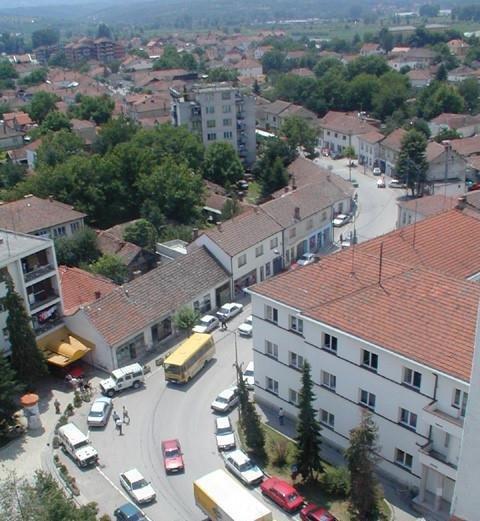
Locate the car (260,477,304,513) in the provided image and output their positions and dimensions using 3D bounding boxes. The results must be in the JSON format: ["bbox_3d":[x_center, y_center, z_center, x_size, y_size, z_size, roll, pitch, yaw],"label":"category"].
[{"bbox_3d":[2.730,15.341,49.193,1.475,0.958,2.596,-26,39,-38],"label":"car"}]

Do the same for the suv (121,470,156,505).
[{"bbox_3d":[-6.923,15.048,50.721,1.406,1.186,3.064,-14,26,-32],"label":"suv"}]

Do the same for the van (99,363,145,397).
[{"bbox_3d":[-9.501,9.784,61.182,3.612,1.589,1.196,-18,28,-31],"label":"van"}]

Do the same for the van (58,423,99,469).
[{"bbox_3d":[-11.639,13.215,54.141,1.800,1.530,3.590,-18,33,-36],"label":"van"}]

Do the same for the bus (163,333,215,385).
[{"bbox_3d":[-4.261,8.151,63.404,1.960,2.202,5.842,9,26,26],"label":"bus"}]
